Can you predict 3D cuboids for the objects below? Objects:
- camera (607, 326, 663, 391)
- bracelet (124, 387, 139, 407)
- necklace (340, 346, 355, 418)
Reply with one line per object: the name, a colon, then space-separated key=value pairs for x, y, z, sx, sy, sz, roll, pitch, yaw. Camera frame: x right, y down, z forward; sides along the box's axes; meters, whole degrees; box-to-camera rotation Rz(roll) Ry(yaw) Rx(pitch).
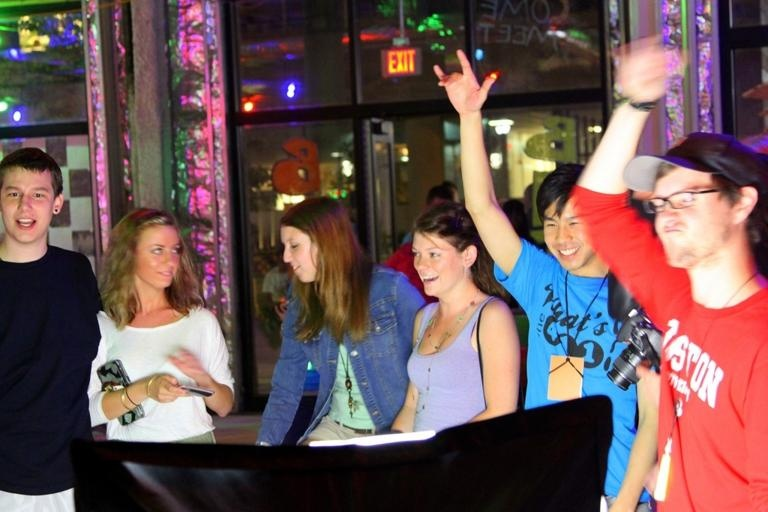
camera: x=0.862 y=0.340 z=2.732 sx=0.172 sy=0.195 sz=0.080 roll=31 pitch=25 yaw=14
bracelet: x=-1.053 y=0.583 z=3.317 sx=0.022 sy=0.081 sz=0.075 roll=-11 pitch=16 yaw=-20
necklace: x=-0.167 y=0.578 z=3.705 sx=0.035 sy=0.325 sz=0.102 roll=-3 pitch=5 yaw=-17
